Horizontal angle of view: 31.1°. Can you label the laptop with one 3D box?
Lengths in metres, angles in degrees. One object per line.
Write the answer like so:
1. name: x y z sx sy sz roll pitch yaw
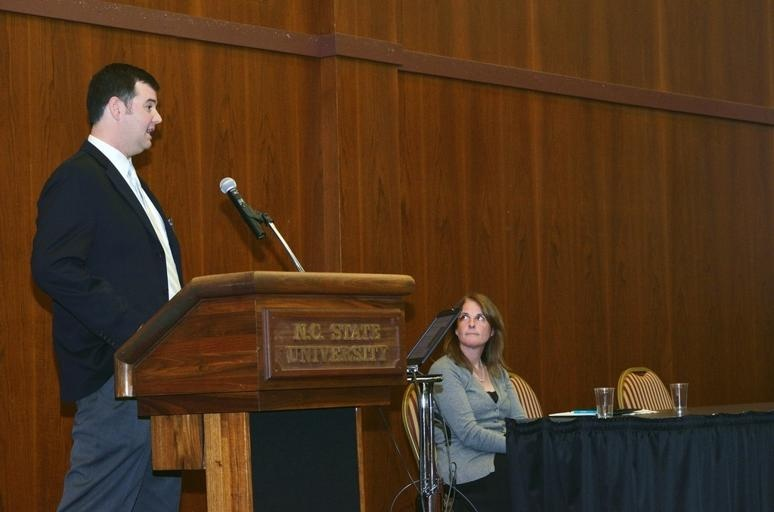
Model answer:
1. laptop: 0.306 0.458 7.498 0.321 0.368 0.227 -7 -18 3
